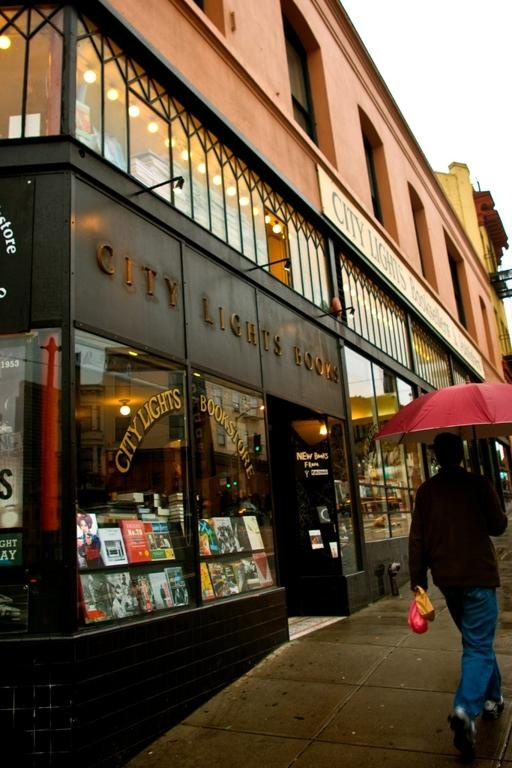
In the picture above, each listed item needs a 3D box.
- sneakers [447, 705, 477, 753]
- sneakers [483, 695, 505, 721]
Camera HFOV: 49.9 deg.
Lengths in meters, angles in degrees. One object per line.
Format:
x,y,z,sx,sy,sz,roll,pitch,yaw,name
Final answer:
1.011,1.710,2.686,0.096,0.313,0.127,-3,11,11,sneakers
1.404,1.928,3.249,0.063,0.143,0.198,-12,-23,27,sneakers
